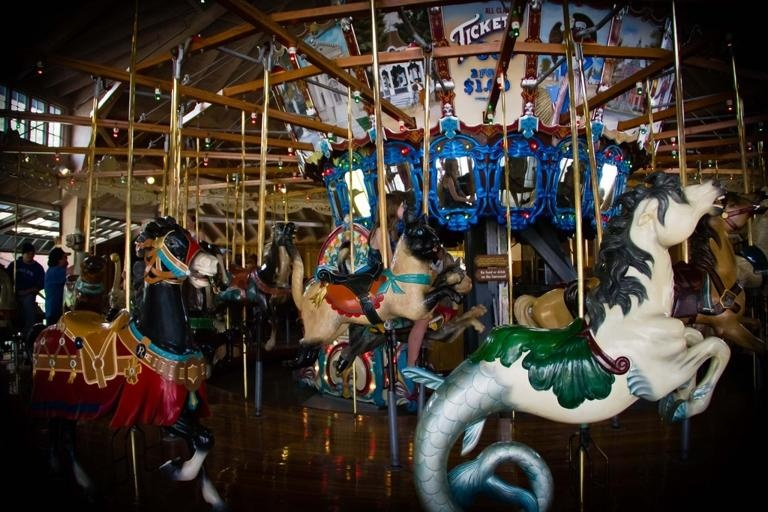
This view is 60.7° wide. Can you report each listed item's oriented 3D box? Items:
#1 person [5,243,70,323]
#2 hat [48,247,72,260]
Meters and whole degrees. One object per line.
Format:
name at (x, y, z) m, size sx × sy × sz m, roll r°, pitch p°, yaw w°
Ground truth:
person at (-5.529, 0.446, 10.413) m, size 1.145 × 1.576 × 0.584 m, roll 0°, pitch 1°, yaw 17°
hat at (-5.576, -0.045, 11.281) m, size 0.310 × 0.224 × 0.425 m, roll 3°, pitch 6°, yaw 42°
